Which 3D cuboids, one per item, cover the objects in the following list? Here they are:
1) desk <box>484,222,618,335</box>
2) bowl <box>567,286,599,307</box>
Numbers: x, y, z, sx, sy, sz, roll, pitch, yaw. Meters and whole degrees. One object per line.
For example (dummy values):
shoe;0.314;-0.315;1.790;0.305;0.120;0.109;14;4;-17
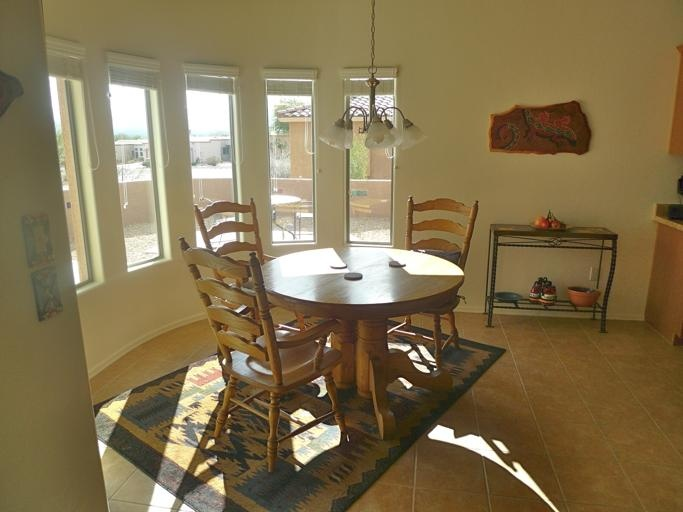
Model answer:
desk;2.130;0.213;4.852;0.998;0.851;0.444;2;23;9
bowl;2.330;0.388;4.765;0.229;0.120;0.234;1;5;0
